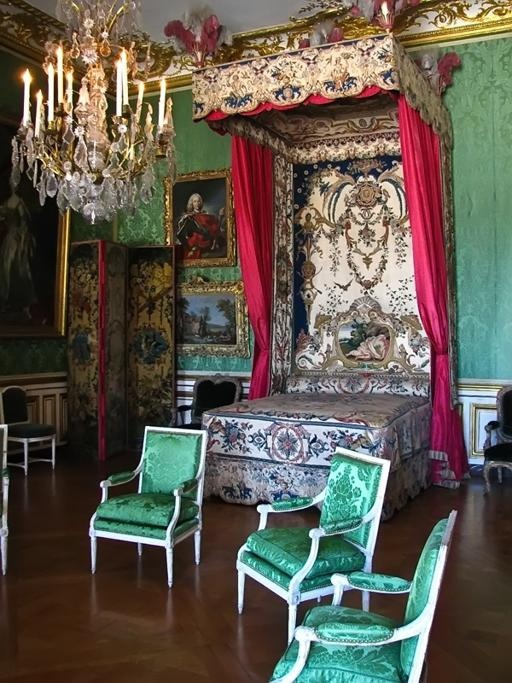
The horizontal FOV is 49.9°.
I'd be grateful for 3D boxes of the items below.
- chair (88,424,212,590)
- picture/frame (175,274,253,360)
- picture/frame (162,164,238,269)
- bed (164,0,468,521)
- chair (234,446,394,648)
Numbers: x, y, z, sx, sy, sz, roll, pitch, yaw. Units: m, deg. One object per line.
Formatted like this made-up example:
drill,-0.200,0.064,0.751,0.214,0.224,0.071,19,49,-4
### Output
chair,-0.543,0.884,3.039,0.523,0.729,0.570,0,-2,31
picture/frame,-0.449,-0.293,6.290,1.036,0.927,0.053,2,3,32
picture/frame,-0.597,-1.407,6.259,1.326,1.488,0.119,1,2,28
bed,0.713,-0.923,4.790,2.000,4.352,2.205,0,1,16
chair,0.244,0.843,2.348,0.514,0.660,0.493,1,-4,-27
